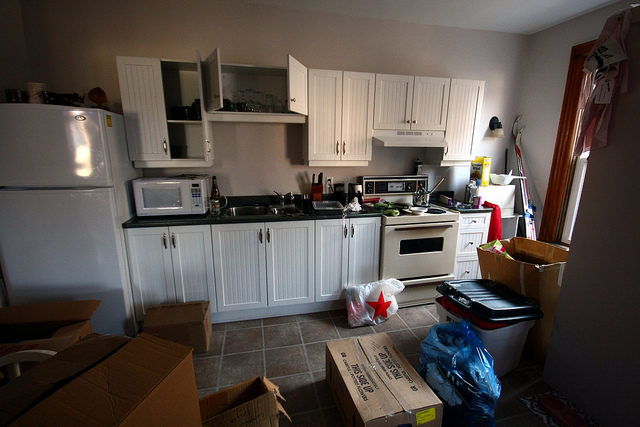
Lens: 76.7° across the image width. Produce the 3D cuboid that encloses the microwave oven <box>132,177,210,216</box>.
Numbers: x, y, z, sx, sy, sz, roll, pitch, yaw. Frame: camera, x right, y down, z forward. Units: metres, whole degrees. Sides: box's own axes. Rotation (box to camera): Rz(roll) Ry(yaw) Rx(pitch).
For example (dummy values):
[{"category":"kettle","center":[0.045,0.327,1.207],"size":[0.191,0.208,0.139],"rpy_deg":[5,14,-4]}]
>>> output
[{"category":"microwave oven","center":[-1.569,-0.198,4.310],"size":[0.674,0.388,0.466],"rpy_deg":[-4,11,-13]}]

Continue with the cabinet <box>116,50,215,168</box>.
[{"category":"cabinet","center":[-1.620,-1.112,4.155],"size":[1.058,1.434,0.733],"rpy_deg":[-8,16,-26]}]

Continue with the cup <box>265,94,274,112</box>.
[{"category":"cup","center":[-0.563,-1.218,4.467],"size":[0.098,0.195,0.213],"rpy_deg":[-2,13,-7]}]

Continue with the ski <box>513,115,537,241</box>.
[{"category":"ski","center":[2.599,-0.271,5.145],"size":[0.160,2.006,0.198],"rpy_deg":[-1,-6,-9]}]

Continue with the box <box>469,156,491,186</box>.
[{"category":"box","center":[1.965,-0.518,4.966],"size":[0.151,0.464,0.264],"rpy_deg":[-6,16,-22]}]

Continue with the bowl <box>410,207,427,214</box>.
[{"category":"bowl","center":[1.106,-0.034,4.523],"size":[0.099,0.035,0.098],"rpy_deg":[-1,17,0]}]

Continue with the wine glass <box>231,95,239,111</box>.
[{"category":"wine glass","center":[-0.924,-1.199,4.384],"size":[0.091,0.172,0.219],"rpy_deg":[-3,14,-12]}]

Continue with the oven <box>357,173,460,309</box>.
[{"category":"oven","center":[1.001,0.240,5.003],"size":[1.178,1.546,0.991],"rpy_deg":[1,10,-21]}]

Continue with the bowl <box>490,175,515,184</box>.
[{"category":"bowl","center":[2.244,-0.415,4.954],"size":[0.153,0.056,0.150],"rpy_deg":[0,9,0]}]

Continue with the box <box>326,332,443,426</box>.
[{"category":"box","center":[0.504,1.369,3.334],"size":[0.702,0.437,0.752],"rpy_deg":[-4,14,-15]}]

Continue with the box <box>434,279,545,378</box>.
[{"category":"box","center":[1.539,1.070,3.761],"size":[0.764,0.805,0.523],"rpy_deg":[-4,14,-16]}]

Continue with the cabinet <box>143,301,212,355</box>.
[{"category":"cabinet","center":[-1.415,1.129,4.026],"size":[0.609,0.379,0.430],"rpy_deg":[-4,14,-14]}]

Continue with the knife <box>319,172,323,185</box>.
[{"category":"knife","center":[0.010,-0.411,4.727],"size":[0.029,0.122,0.032],"rpy_deg":[1,1,-10]}]

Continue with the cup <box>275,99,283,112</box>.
[{"category":"cup","center":[-0.464,-1.201,4.508],"size":[0.085,0.142,0.203],"rpy_deg":[-2,13,-6]}]

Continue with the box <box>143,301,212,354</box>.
[{"category":"box","center":[-1.370,1.048,3.949],"size":[0.744,0.473,0.519],"rpy_deg":[0,22,-10]}]
